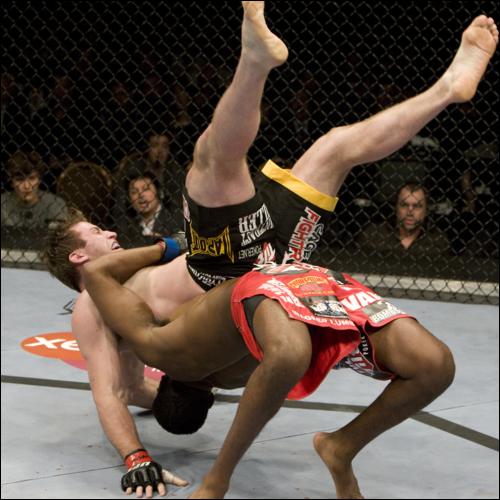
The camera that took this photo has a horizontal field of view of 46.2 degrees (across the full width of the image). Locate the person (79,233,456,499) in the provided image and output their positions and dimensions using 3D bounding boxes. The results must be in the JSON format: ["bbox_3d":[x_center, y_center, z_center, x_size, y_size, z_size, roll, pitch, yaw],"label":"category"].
[{"bbox_3d":[0.039,0.295,1.832,0.831,0.885,0.610,-6,93,-7],"label":"person"}]
